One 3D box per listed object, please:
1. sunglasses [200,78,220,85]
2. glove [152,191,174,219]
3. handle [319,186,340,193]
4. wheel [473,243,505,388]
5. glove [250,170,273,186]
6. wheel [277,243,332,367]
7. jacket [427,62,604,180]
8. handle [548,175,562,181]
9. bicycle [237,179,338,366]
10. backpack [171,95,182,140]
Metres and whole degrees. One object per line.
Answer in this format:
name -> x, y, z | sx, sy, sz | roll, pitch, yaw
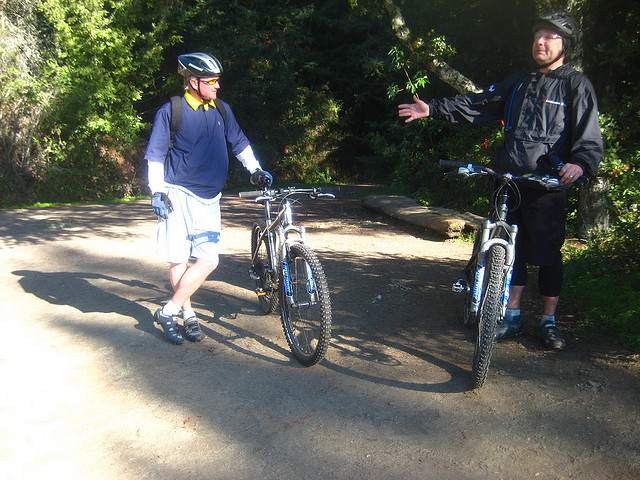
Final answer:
sunglasses -> -1.047, -1.492, 4.944 | 0.142, 0.056, 0.048 | -2, 9, -38
glove -> -1.431, -0.316, 4.810 | 0.161, 0.234, 0.066 | -25, 1, 16
handle -> 0.094, -0.507, 5.293 | 0.263, 0.082, 0.076 | 0, -4, -31
wheel -> 1.400, 0.653, 4.327 | 0.174, 1.227, 0.326 | 6, 8, 22
glove -> -0.586, -0.647, 5.369 | 0.186, 0.164, 0.150 | -14, 32, 21
wheel -> -0.122, 0.592, 4.846 | 0.261, 1.096, 0.796 | -1, 9, -30
jacket -> 1.878, -1.151, 5.023 | 1.602, 1.232, 0.911 | 22, 14, 28
handle -> 2.022, -0.522, 4.483 | 0.093, 0.039, 0.393 | 7, 9, 25
bicycle -> -0.307, 0.250, 5.244 | 0.833, 1.645, 1.689 | 2, 8, -8
backpack -> -1.366, -1.160, 4.972 | 0.097, 0.405, 0.160 | 0, 8, -21
